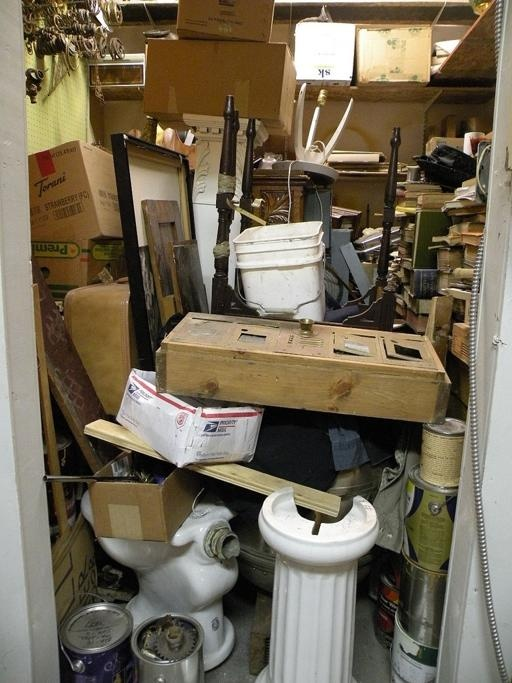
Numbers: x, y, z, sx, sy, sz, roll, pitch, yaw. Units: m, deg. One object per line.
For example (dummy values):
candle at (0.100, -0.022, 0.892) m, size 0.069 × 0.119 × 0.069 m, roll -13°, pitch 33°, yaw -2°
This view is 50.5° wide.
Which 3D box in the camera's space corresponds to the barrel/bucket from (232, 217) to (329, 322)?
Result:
barrel/bucket at (0.072, -0.201, 1.748) m, size 0.293 × 0.346 × 0.284 m, roll -2°, pitch 17°, yaw 1°

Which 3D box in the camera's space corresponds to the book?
book at (0.764, -0.426, 2.268) m, size 0.359 × 0.485 × 0.167 m, roll 8°, pitch 16°, yaw 30°

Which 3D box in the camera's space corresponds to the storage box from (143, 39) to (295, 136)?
storage box at (-0.151, -1.028, 2.123) m, size 0.450 × 0.219 × 0.446 m, roll 2°, pitch 3°, yaw 2°

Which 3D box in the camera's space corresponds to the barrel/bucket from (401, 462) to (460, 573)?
barrel/bucket at (0.517, 0.510, 1.590) m, size 0.157 × 0.252 × 0.178 m, roll 7°, pitch 17°, yaw 16°

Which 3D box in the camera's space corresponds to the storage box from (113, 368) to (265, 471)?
storage box at (-0.216, 0.229, 1.585) m, size 0.371 × 0.183 × 0.265 m, roll 26°, pitch 7°, yaw 34°

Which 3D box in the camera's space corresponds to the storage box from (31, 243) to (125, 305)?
storage box at (-0.733, -0.320, 2.325) m, size 0.294 × 0.187 × 0.290 m, roll -9°, pitch 13°, yaw -35°

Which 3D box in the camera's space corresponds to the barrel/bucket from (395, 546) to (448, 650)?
barrel/bucket at (0.473, 0.748, 1.625) m, size 0.192 × 0.208 × 0.196 m, roll 2°, pitch 4°, yaw 0°

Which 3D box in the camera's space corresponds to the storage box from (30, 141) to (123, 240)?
storage box at (-0.740, -0.636, 2.361) m, size 0.452 × 0.342 × 0.466 m, roll -15°, pitch 12°, yaw -37°

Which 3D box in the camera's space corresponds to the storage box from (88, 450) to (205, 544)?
storage box at (-0.319, 0.469, 1.578) m, size 0.259 × 0.155 × 0.248 m, roll 3°, pitch 21°, yaw 6°
